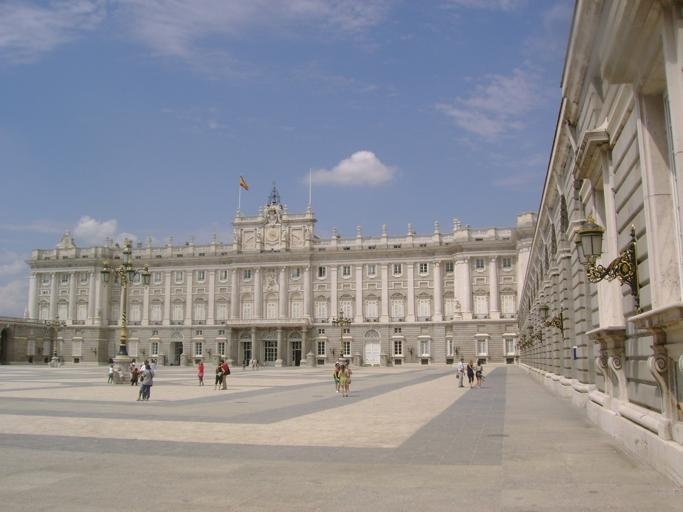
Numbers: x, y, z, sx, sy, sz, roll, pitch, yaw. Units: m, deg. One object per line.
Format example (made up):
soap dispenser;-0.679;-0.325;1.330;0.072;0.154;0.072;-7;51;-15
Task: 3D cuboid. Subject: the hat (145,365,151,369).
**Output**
hat;-7.707;4.404;25.681;0.135;0.185;0.418;-1;-7;-1

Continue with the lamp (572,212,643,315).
lamp;4.730;0.169;11.472;0.965;1.806;0.598;0;-11;12
